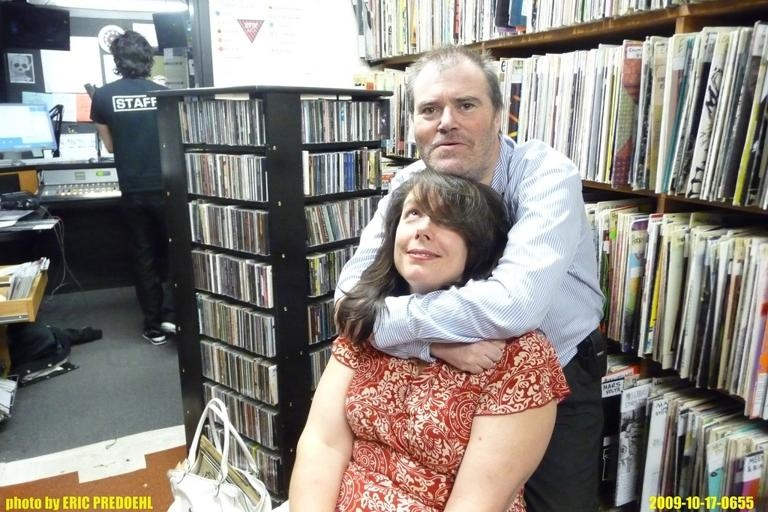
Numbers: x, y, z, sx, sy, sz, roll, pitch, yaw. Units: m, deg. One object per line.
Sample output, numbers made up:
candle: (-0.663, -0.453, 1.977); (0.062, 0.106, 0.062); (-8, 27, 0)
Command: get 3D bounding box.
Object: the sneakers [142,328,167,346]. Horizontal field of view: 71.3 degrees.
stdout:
sneakers: (-1.860, 0.656, 4.372); (0.106, 0.075, 0.199); (-6, 4, -41)
